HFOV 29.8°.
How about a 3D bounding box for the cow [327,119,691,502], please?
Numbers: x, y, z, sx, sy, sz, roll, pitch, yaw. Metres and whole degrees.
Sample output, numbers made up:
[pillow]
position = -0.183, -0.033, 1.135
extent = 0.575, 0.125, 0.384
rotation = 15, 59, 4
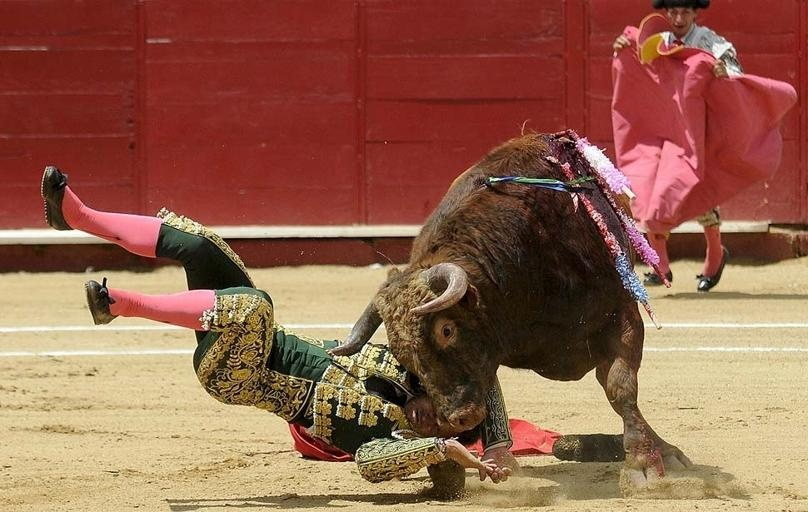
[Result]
[cow]
position = 0.996, 0.379, 10.655
extent = 1.555, 2.424, 3.297
rotation = -13, 7, 40

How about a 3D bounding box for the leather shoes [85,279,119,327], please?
[leather shoes]
position = -1.919, 0.293, 9.625
extent = 0.138, 0.304, 0.159
rotation = -6, 15, -5
